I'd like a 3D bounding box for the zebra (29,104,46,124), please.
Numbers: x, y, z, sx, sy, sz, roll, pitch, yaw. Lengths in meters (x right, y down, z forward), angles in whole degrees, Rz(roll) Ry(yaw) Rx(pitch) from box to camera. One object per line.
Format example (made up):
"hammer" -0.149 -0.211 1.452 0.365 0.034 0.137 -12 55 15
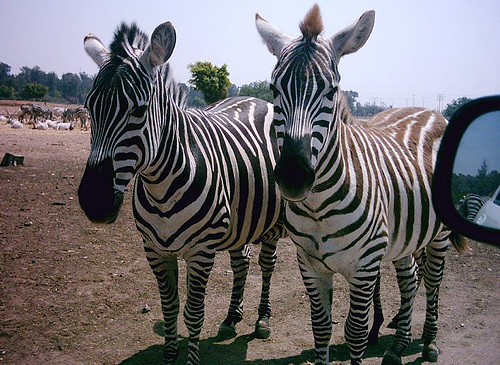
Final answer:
"zebra" -12.377 -3.945 29.663 0.810 0.940 5.017 1 10 -22

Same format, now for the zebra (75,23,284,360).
"zebra" -0.701 0.228 5.238 2.196 3.454 0.756 -3 10 -41
